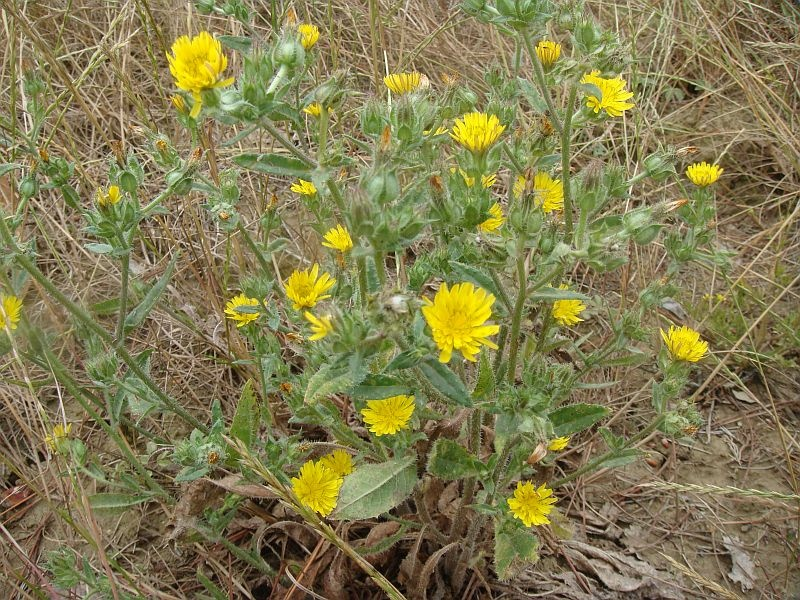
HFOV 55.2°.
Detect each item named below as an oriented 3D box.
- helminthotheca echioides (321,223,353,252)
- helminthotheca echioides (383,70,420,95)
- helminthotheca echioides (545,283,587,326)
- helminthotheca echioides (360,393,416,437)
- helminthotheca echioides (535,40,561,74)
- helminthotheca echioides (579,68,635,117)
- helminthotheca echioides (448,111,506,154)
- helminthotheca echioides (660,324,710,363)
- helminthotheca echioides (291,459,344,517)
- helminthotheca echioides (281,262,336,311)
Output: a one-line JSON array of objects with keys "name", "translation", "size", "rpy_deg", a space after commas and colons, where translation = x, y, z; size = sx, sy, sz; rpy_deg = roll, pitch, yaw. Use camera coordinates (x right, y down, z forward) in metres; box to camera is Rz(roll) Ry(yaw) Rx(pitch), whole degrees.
[{"name": "helminthotheca echioides", "translation": [-0.263, -0.241, 3.283], "size": [0.117, 0.065, 0.130], "rpy_deg": [-22, 57, -6]}, {"name": "helminthotheca echioides", "translation": [0.012, -0.903, 3.240], "size": [0.150, 0.108, 0.157], "rpy_deg": [11, 20, 36]}, {"name": "helminthotheca echioides", "translation": [0.752, 0.029, 3.389], "size": [0.188, 0.089, 0.192], "rpy_deg": [41, 67, -27]}, {"name": "helminthotheca echioides", "translation": [-0.024, 0.436, 3.143], "size": [0.189, 0.091, 0.213], "rpy_deg": [8, 14, 7]}, {"name": "helminthotheca echioides", "translation": [0.622, -1.032, 3.288], "size": [0.134, 0.161, 0.140], "rpy_deg": [8, 16, 19]}, {"name": "helminthotheca echioides", "translation": [0.829, -0.828, 3.095], "size": [0.209, 0.220, 0.093], "rpy_deg": [-11, 105, -20]}, {"name": "helminthotheca echioides", "translation": [0.290, -0.680, 3.006], "size": [0.163, 0.094, 0.180], "rpy_deg": [-22, 70, -6]}, {"name": "helminthotheca echioides", "translation": [1.193, 0.187, 3.254], "size": [0.166, 0.108, 0.180], "rpy_deg": [31, 24, 4]}, {"name": "helminthotheca echioides", "translation": [-0.355, 0.799, 3.265], "size": [0.217, 0.106, 0.243], "rpy_deg": [-8, 75, -31]}, {"name": "helminthotheca echioides", "translation": [-0.370, -0.051, 3.134], "size": [0.178, 0.104, 0.197], "rpy_deg": [-19, 58, -5]}]
